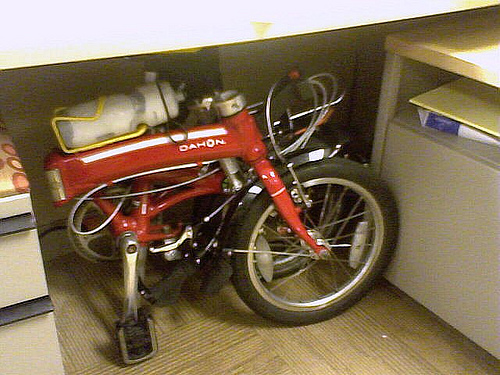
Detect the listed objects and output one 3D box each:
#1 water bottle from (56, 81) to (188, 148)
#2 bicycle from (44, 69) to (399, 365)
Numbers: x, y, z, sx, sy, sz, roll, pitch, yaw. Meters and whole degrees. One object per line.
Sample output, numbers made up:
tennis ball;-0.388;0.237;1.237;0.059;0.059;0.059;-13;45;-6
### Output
water bottle;-0.252;-0.141;0.849;0.293;0.079;0.117;-15;42;7
bicycle;-0.061;0.053;1.034;0.863;0.773;0.410;-19;41;-16
